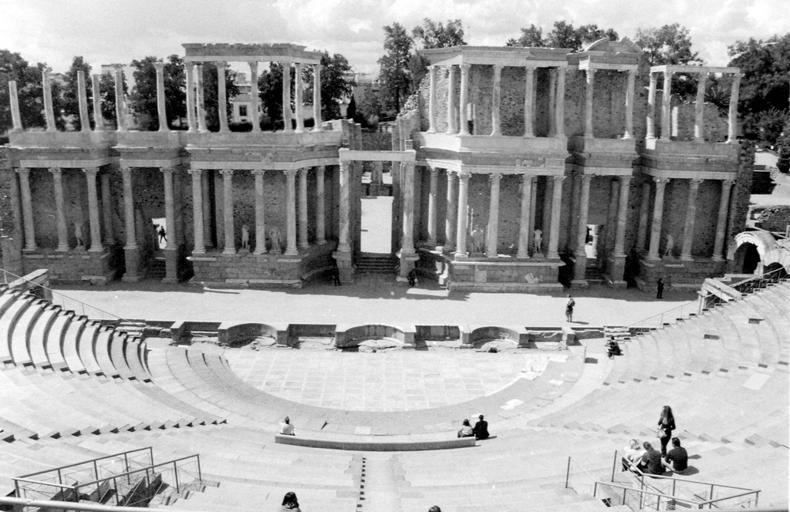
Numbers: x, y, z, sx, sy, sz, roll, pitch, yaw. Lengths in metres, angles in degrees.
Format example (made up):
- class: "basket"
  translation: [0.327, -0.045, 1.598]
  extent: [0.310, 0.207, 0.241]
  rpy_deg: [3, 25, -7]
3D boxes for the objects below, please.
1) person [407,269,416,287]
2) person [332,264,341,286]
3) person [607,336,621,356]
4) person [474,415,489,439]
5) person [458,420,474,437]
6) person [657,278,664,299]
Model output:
- class: "person"
  translation: [0.909, 1.274, 45.813]
  extent: [0.490, 0.913, 0.908]
  rpy_deg: [-1, 7, 0]
- class: "person"
  translation: [-3.349, 1.164, 45.844]
  extent: [0.487, 0.997, 0.806]
  rpy_deg: [-2, 8, -6]
- class: "person"
  translation: [10.271, 4.246, 37.408]
  extent: [0.614, 0.730, 0.920]
  rpy_deg: [1, 7, 15]
- class: "person"
  translation: [3.235, 6.390, 30.035]
  extent: [0.612, 0.836, 0.685]
  rpy_deg: [0, 8, 5]
- class: "person"
  translation: [2.673, 6.483, 30.217]
  extent: [0.545, 0.426, 0.749]
  rpy_deg: [1, 4, 4]
- class: "person"
  translation: [14.870, 1.819, 44.974]
  extent: [0.368, 0.975, 1.439]
  rpy_deg: [2, 7, 18]
